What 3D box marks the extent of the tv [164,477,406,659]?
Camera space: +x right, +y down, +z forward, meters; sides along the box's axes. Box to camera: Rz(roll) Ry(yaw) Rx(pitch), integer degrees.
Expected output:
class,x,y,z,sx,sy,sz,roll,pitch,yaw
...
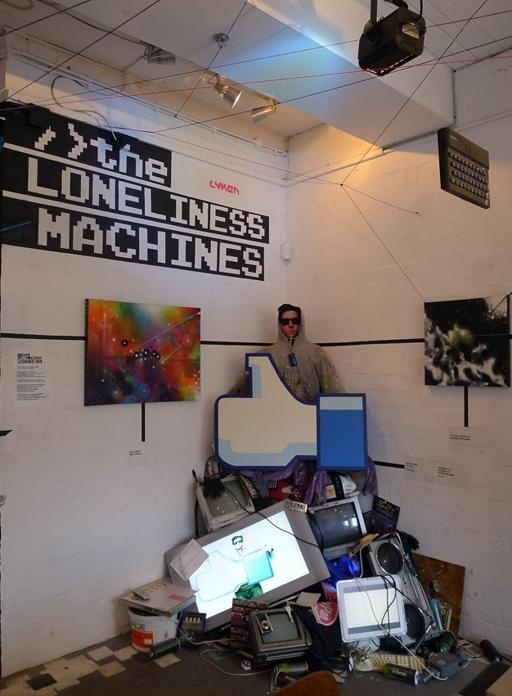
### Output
class,x,y,z,sx,sy,sz,roll,pitch,yaw
tv,0.174,1.168,3.096,1.192,0.582,0.295,-18,-19,3

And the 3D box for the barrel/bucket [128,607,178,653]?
class,x,y,z,sx,sy,sz,roll,pitch,yaw
barrel/bucket,-0.534,1.468,2.883,0.226,0.167,0.228,0,-9,0

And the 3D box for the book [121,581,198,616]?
class,x,y,z,sx,sy,sz,roll,pitch,yaw
book,-0.525,1.355,2.925,0.221,0.038,0.231,0,-1,14

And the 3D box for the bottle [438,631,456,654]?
class,x,y,z,sx,sy,sz,roll,pitch,yaw
bottle,0.985,1.507,2.769,0.040,0.103,0.072,11,1,-38
